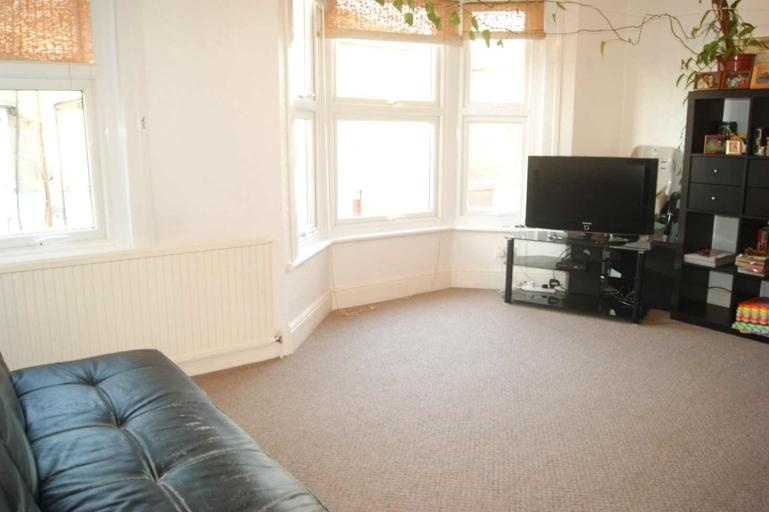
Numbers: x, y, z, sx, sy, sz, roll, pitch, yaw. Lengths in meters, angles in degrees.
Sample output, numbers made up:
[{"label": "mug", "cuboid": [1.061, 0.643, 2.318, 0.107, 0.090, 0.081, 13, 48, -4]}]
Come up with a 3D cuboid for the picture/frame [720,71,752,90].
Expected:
[{"label": "picture/frame", "cuboid": [2.713, -1.356, 4.187, 0.021, 0.124, 0.194, 3, 3, -42]}]

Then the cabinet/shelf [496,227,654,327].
[{"label": "cabinet/shelf", "cuboid": [1.720, 0.185, 4.974, 1.186, 0.600, 0.459, 8, 12, 23]}]

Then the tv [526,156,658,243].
[{"label": "tv", "cuboid": [1.848, -0.504, 4.766, 0.872, 0.506, 0.083, 3, 6, 23]}]
